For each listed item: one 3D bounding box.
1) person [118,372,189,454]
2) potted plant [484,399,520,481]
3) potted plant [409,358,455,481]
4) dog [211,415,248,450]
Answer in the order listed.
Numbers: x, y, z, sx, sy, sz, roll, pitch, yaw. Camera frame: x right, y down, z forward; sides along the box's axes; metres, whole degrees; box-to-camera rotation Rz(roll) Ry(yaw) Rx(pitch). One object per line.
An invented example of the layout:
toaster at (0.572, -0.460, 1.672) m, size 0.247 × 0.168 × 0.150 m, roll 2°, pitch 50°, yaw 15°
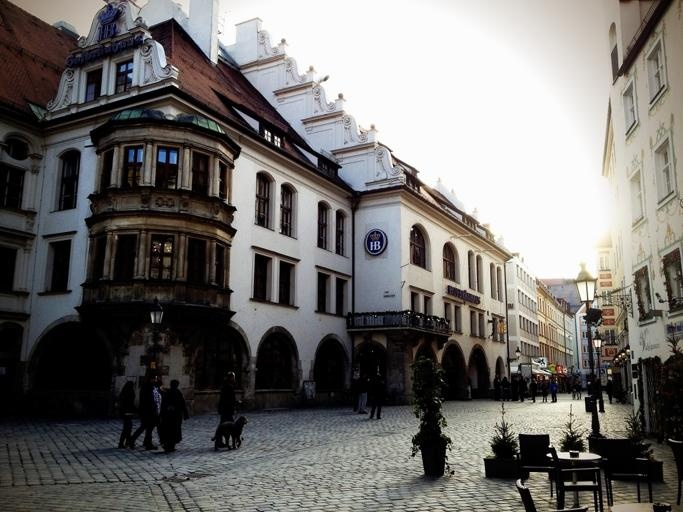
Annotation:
person at (-5.118, 4.535, 16.617) m, size 1.323 × 1.961 × 0.648 m, roll -7°, pitch -15°, yaw 26°
potted plant at (3.665, 4.309, 13.273) m, size 0.544 × 1.315 × 0.656 m, roll 4°, pitch -8°, yaw -18°
potted plant at (2.121, 3.760, 13.826) m, size 0.955 × 2.769 × 0.847 m, roll -7°, pitch -15°, yaw 26°
dog at (-3.290, 5.238, 17.279) m, size 0.827 × 0.904 × 1.612 m, roll 2°, pitch -15°, yaw -8°
